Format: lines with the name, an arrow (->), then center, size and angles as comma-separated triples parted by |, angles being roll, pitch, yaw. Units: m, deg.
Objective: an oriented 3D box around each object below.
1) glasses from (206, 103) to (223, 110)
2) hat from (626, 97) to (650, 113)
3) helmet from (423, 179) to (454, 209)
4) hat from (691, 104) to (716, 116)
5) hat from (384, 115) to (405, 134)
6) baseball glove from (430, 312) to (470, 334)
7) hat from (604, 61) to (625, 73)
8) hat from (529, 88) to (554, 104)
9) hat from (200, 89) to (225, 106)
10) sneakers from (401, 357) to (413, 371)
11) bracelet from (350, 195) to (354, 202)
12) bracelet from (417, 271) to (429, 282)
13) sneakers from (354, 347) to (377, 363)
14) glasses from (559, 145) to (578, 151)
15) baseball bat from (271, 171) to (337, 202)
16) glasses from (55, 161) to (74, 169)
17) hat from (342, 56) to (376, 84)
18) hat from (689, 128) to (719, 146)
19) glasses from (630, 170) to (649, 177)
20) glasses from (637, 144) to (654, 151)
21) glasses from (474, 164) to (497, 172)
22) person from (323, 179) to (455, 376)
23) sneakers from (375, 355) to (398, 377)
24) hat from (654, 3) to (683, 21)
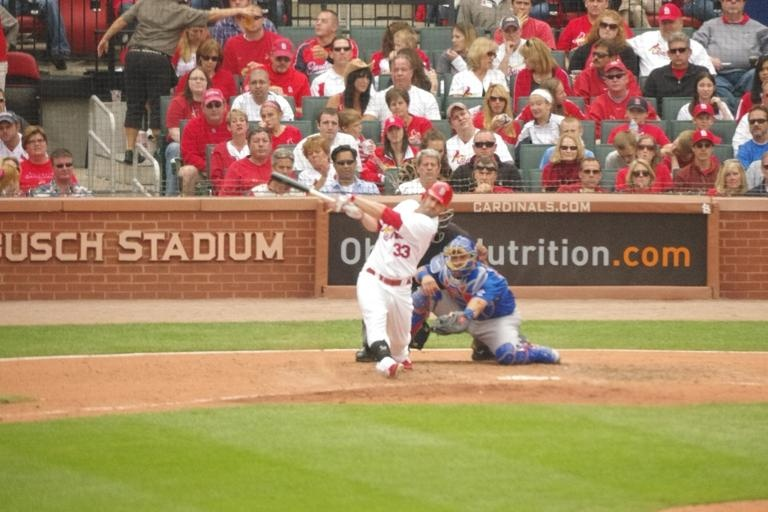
glasses -> -2.745, -2.442, 23.991 | 0.159, 0.100, 0.240 | -2, 2, -3
hat -> 4.194, -2.516, 24.408 | 0.337, 0.232, 0.224 | 0, 5, -2
helmet -> 0.712, -0.823, 19.376 | 0.321, 0.333, 0.228 | -2, 6, -16
hat -> 5.235, -2.431, 24.404 | 0.268, 0.209, 0.385 | -3, 6, -27
hat -> 0.172, -2.106, 23.529 | 0.312, 0.271, 0.385 | 0, 5, -1
baseball glove -> 0.885, 0.843, 19.661 | 0.484, 0.320, 0.501 | 0, 5, 3
hat -> 3.892, -3.207, 24.889 | 0.317, 0.219, 0.372 | 0, 5, 4
hat -> 2.620, -2.642, 24.291 | 0.261, 0.162, 0.320 | 13, 10, 20
hat -> -2.790, -2.597, 24.072 | 0.386, 0.267, 0.244 | 2, 6, 19
sneakers -> 0.304, 1.414, 19.944 | 0.145, 0.149, 0.356 | 0, -9, -2
bracelet -> -0.414, -0.773, 19.340 | 0.069, 0.095, 0.067 | -1, 5, -5
bracelet -> 0.500, 0.232, 19.977 | 0.135, 0.121, 0.125 | -43, -11, 29
sneakers -> -0.204, 1.319, 20.185 | 0.421, 0.174, 0.144 | 3, 3, -6
glasses -> 2.915, -1.727, 23.365 | 0.289, 0.084, 0.097 | 0, 5, 0
baseball bat -> -1.177, -1.090, 22.382 | 1.161, 0.159, 0.163 | 22, 31, -22
glasses -> -5.135, -1.482, 23.745 | 0.276, 0.107, 0.117 | -4, 6, -34
hat -> -0.447, -3.124, 24.628 | 0.404, 0.343, 0.451 | 0, 5, 0
hat -> 5.164, -1.944, 23.825 | 0.412, 0.241, 0.662 | 1, 6, 14
glasses -> 4.035, -1.336, 23.394 | 0.269, 0.095, 0.048 | 0, 5, 5
glasses -> 4.146, -1.745, 23.443 | 0.264, 0.108, 0.125 | 0, 5, 5
glasses -> 1.606, -1.422, 23.443 | 0.341, 0.120, 0.118 | -1, 5, -11
person -> 0.120, 0.250, 19.480 | 1.382, 2.488, 0.653 | 0, 5, -5
sneakers -> 0.046, 1.405, 19.395 | 0.309, 0.273, 0.237 | 1, 5, 10
hat -> 5.089, -4.342, 26.438 | 0.371, 0.271, 0.550 | -2, 8, 25
